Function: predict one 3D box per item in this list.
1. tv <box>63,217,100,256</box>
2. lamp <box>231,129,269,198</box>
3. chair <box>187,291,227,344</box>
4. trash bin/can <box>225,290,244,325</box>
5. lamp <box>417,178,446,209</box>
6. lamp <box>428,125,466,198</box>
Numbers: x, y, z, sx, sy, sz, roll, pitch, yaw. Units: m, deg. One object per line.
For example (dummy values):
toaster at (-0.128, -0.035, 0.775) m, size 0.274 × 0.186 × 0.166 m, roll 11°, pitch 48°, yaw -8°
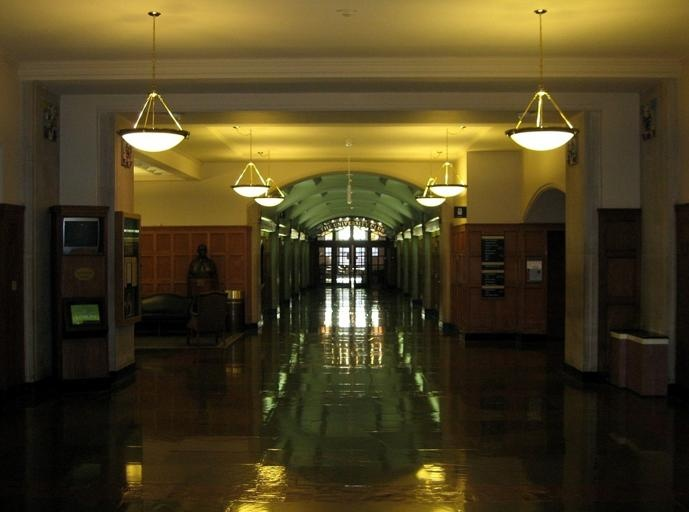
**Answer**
tv at (-4.121, -0.310, 10.034) m, size 0.608 × 0.571 × 0.336 m, roll 0°, pitch 1°, yaw 0°
lamp at (-2.145, -2.276, 14.400) m, size 0.781 × 1.774 × 0.782 m, roll -1°, pitch -2°, yaw 9°
chair at (-3.039, 1.358, 14.073) m, size 1.039 × 1.247 × 1.040 m, roll 1°, pitch 1°, yaw -17°
trash bin/can at (-2.827, 1.384, 16.379) m, size 0.418 × 0.944 × 0.473 m, roll 0°, pitch 3°, yaw -10°
lamp at (2.071, -1.558, 15.301) m, size 0.781 × 0.793 × 0.789 m, roll 0°, pitch -1°, yaw 9°
lamp at (2.336, -2.086, 14.216) m, size 0.870 × 1.507 × 0.876 m, roll -1°, pitch 0°, yaw 12°
